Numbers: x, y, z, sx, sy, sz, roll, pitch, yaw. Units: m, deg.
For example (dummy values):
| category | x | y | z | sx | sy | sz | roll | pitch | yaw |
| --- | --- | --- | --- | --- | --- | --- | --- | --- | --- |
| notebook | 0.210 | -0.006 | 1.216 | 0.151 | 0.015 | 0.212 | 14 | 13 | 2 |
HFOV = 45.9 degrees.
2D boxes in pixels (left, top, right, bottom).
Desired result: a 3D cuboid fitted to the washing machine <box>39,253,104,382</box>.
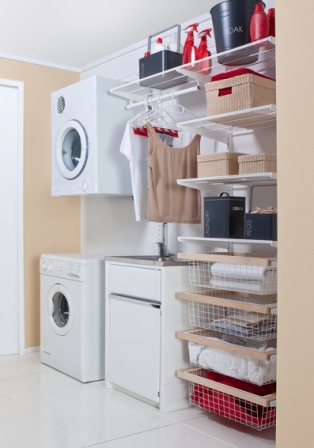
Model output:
| category | x | y | z | sx | sy | sz | roll | pitch | yaw |
| --- | --- | --- | --- | --- | --- | --- | --- | --- | --- |
| washing machine | -0.713 | 0.726 | 3.038 | 0.712 | 0.959 | 0.226 | -5 | -8 | 43 |

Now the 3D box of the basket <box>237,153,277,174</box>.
| category | x | y | z | sx | sy | sz | roll | pitch | yaw |
| --- | --- | --- | --- | --- | --- | --- | --- | --- | --- |
| basket | 0.527 | -0.288 | 1.959 | 0.141 | 0.089 | 0.136 | 0 | 0 | -38 |

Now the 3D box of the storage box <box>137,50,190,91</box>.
| category | x | y | z | sx | sy | sz | roll | pitch | yaw |
| --- | --- | --- | --- | --- | --- | --- | --- | --- | --- |
| storage box | 0.030 | -1.006 | 2.638 | 0.262 | 0.220 | 0.363 | 0 | -1 | -40 |

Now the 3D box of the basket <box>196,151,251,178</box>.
| category | x | y | z | sx | sy | sz | roll | pitch | yaw |
| --- | --- | --- | --- | --- | --- | --- | --- | --- | --- |
| basket | 0.366 | -0.313 | 2.168 | 0.187 | 0.107 | 0.184 | 0 | -1 | -33 |

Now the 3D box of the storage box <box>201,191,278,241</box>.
| category | x | y | z | sx | sy | sz | roll | pitch | yaw |
| --- | --- | --- | --- | --- | --- | --- | --- | --- | --- |
| storage box | 0.462 | -0.043 | 2.059 | 0.102 | 0.186 | 0.289 | 6 | -6 | -41 |

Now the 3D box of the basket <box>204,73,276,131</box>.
| category | x | y | z | sx | sy | sz | roll | pitch | yaw |
| --- | --- | --- | --- | --- | --- | --- | --- | --- | --- |
| basket | 0.420 | -0.670 | 1.931 | 0.365 | 0.247 | 0.252 | -1 | -6 | 16 |
